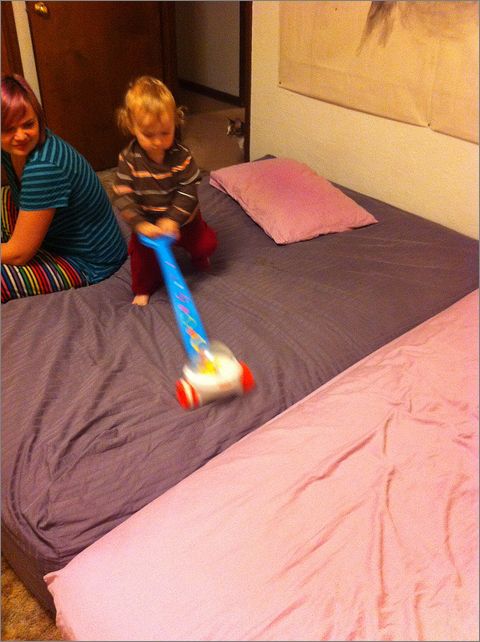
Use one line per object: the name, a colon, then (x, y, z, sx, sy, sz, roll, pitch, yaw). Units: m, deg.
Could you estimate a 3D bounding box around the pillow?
pillow: (0.185, -0.574, 2.113, 0.395, 0.132, 0.594, -19, 44, -24)
